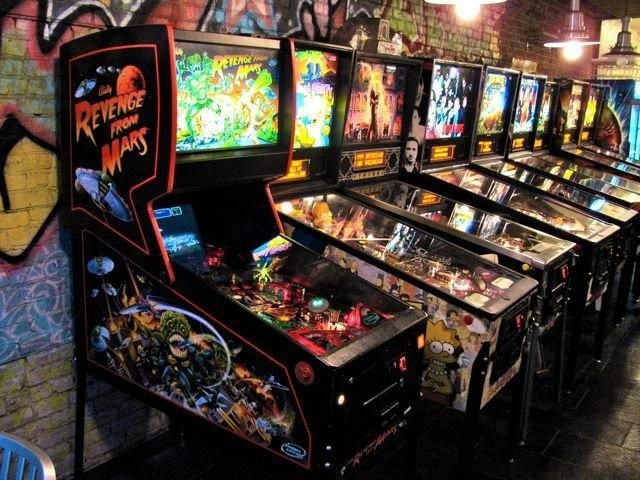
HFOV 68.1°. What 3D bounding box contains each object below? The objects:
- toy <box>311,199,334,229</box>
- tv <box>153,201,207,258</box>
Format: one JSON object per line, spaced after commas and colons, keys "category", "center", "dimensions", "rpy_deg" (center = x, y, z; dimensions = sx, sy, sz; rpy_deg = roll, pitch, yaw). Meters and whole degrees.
{"category": "toy", "center": [0.009, -0.144, 2.733], "dimensions": [0.119, 0.118, 0.093], "rpy_deg": [44, 48, 11]}
{"category": "tv", "center": [-0.648, -0.042, 2.157], "dimensions": [0.033, 0.301, 0.235], "rpy_deg": [-28, -7, 42]}
